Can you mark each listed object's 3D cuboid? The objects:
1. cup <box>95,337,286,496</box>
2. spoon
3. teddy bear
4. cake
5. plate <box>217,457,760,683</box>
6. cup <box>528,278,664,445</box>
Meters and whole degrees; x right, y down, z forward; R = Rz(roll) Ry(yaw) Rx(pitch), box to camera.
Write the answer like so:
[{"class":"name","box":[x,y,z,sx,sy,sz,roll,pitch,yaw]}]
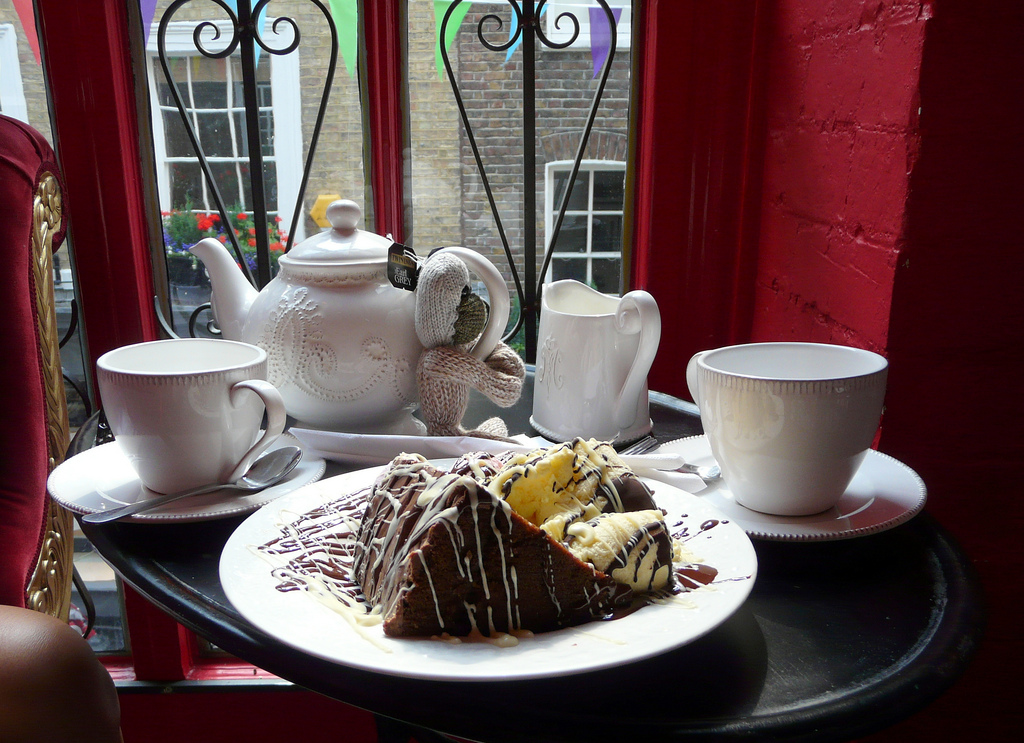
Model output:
[{"class":"cup","box":[-0.329,0.045,0.809,0.187,0.136,0.157,11,19,15]},{"class":"spoon","box":[-0.321,0.115,0.800,0.176,0.031,0.036,-13,18,-37]},{"class":"teddy bear","box":[-0.067,-0.038,1.043,0.169,0.330,0.190,-2,6,-9]},{"class":"cake","box":[0.003,0.101,0.656,0.173,0.080,0.178,-3,9,-12]},{"class":"plate","box":[-0.021,0.160,0.678,0.432,0.053,0.294,6,19,16]},{"class":"cup","box":[0.089,-0.035,0.949,0.146,0.195,0.185,-7,20,-30]}]
